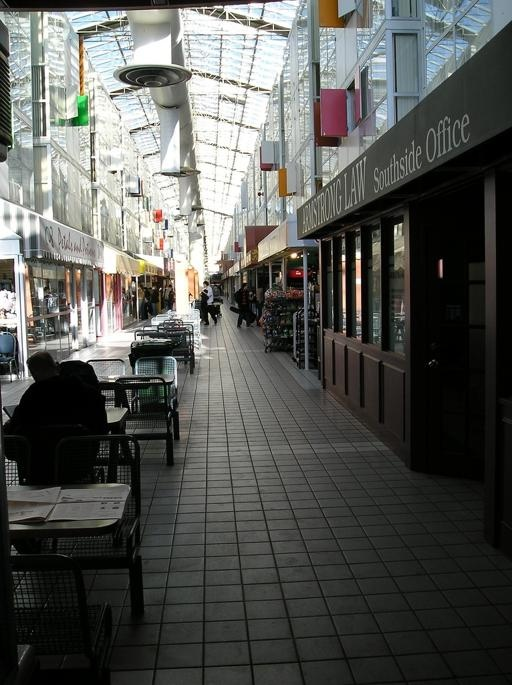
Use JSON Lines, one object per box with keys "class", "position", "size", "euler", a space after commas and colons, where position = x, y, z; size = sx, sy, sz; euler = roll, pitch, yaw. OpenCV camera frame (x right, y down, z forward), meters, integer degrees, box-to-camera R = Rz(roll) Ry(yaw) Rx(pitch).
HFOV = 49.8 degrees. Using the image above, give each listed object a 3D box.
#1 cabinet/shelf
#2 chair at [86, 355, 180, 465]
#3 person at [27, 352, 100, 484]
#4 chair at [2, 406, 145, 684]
{"class": "cabinet/shelf", "position": [0.851, -0.485, 15.347], "size": [1.076, 2.010, 4.042], "euler": [0, 2, -5]}
{"class": "chair", "position": [-1.335, 0.691, 6.496], "size": [0.721, 1.149, 1.610], "euler": [0, 5, -2]}
{"class": "person", "position": [-1.180, 0.478, 3.317], "size": [0.338, 0.984, 0.468], "euler": [-5, 26, -10]}
{"class": "chair", "position": [-0.777, 1.027, 3.021], "size": [0.665, 1.665, 0.950], "euler": [-1, -4, 0]}
